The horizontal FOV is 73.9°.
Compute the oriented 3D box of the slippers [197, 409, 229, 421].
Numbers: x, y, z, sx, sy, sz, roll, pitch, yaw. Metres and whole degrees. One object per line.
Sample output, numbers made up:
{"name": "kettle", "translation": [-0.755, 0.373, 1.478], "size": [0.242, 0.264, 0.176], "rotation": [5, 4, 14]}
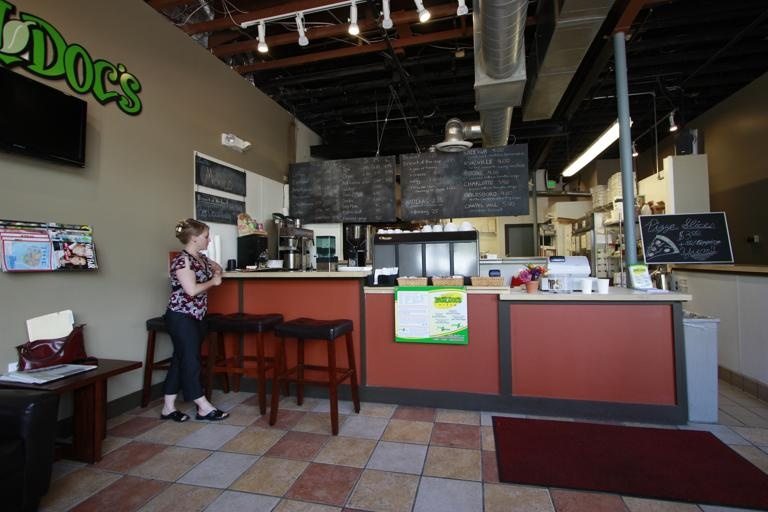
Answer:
{"name": "slippers", "translation": [-1.682, 1.573, 5.033], "size": [0.243, 0.086, 0.126], "rotation": [1, -7, -2]}

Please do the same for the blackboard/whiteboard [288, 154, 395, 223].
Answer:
{"name": "blackboard/whiteboard", "translation": [-0.557, -0.955, 7.470], "size": [1.444, 0.972, 0.174], "rotation": [-4, 0, 4]}

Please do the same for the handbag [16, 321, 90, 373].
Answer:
{"name": "handbag", "translation": [-2.948, 0.851, 4.532], "size": [0.331, 0.320, 0.525], "rotation": [-12, -13, 41]}

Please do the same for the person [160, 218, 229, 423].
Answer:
{"name": "person", "translation": [-1.931, 0.631, 5.070], "size": [0.647, 2.015, 0.379], "rotation": [-4, 0, -24]}

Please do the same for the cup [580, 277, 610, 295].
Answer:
{"name": "cup", "translation": [2.074, 0.293, 5.041], "size": [0.246, 0.101, 0.165], "rotation": [1, -2, 25]}

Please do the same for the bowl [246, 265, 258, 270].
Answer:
{"name": "bowl", "translation": [-1.645, 0.135, 6.335], "size": [0.130, 0.056, 0.464], "rotation": [-4, 0, -15]}

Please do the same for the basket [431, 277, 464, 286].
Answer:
{"name": "basket", "translation": [0.632, 0.260, 5.174], "size": [0.301, 0.089, 0.078], "rotation": [-4, 0, 2]}

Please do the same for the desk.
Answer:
{"name": "desk", "translation": [-2.724, 1.360, 4.578], "size": [0.853, 0.770, 0.846], "rotation": [0, 0, 7]}

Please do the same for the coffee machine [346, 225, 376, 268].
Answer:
{"name": "coffee machine", "translation": [-0.407, -0.121, 7.605], "size": [0.421, 0.707, 0.438], "rotation": [3, -3, 24]}

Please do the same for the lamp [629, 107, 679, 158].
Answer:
{"name": "lamp", "translation": [4.476, -2.089, 8.478], "size": [0.665, 0.713, 1.974], "rotation": [-4, 0, 28]}

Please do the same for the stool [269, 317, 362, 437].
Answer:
{"name": "stool", "translation": [-0.672, 1.155, 5.117], "size": [0.919, 0.950, 0.840], "rotation": [-2, -2, 31]}

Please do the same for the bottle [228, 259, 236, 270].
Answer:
{"name": "bottle", "translation": [-1.824, 0.098, 6.124], "size": [0.118, 0.130, 0.117], "rotation": [1, -3, -11]}

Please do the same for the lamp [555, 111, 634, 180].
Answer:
{"name": "lamp", "translation": [3.351, -1.704, 8.283], "size": [0.723, 0.359, 3.076], "rotation": [-4, 0, 16]}

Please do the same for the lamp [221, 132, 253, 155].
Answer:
{"name": "lamp", "translation": [-1.841, -1.459, 6.490], "size": [0.184, 0.226, 0.495], "rotation": [-4, 0, 22]}

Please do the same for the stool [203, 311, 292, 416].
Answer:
{"name": "stool", "translation": [-1.502, 1.109, 5.397], "size": [0.648, 0.904, 0.656], "rotation": [0, -6, 5]}

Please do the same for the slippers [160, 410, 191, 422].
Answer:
{"name": "slippers", "translation": [-2.045, 1.585, 5.007], "size": [0.297, 0.094, 0.108], "rotation": [4, -7, 8]}
